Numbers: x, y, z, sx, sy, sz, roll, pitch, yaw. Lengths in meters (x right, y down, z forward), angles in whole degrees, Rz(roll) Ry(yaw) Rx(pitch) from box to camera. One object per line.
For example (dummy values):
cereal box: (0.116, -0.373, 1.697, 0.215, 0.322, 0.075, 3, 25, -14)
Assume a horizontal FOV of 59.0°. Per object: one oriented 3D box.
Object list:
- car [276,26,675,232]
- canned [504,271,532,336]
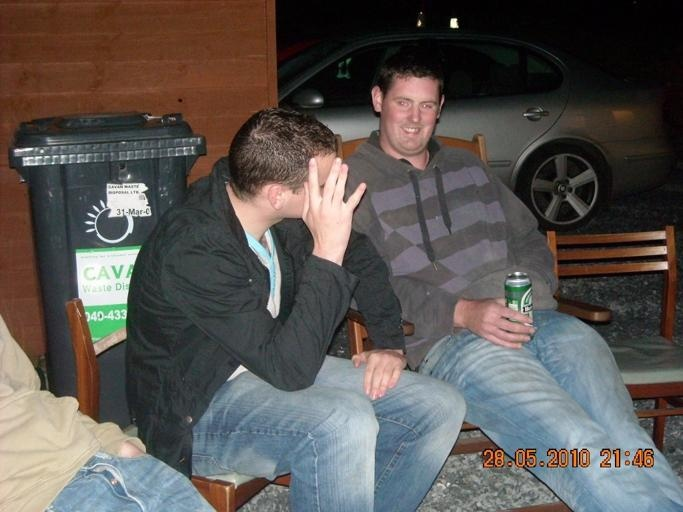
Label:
car: (1.262, -1.116, 5.919, 3.829, 1.221, 1.605, 4, 1, -13)
canned: (0.818, 0.189, 2.732, 0.146, 0.236, 0.102, -2, 6, -10)
